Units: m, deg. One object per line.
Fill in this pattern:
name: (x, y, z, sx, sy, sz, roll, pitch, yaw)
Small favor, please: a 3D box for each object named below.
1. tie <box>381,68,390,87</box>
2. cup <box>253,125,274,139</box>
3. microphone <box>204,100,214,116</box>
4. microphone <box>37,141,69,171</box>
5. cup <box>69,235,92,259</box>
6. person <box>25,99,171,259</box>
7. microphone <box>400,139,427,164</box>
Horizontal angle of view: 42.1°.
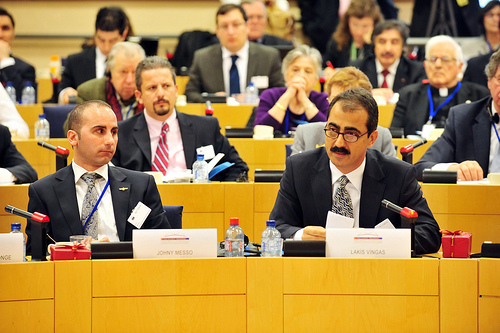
tie: (1.672, -1.088, 8.080, 0.121, 0.196, 0.042, 1, 0, 19)
cup: (0.125, -0.335, 6.652, 0.242, 0.172, 0.133, -1, 4, 0)
microphone: (-0.451, -0.641, 7.200, 0.081, 0.104, 0.265, 0, 28, -3)
microphone: (-1.796, -0.095, 5.907, 0.272, 0.340, 0.076, 24, 35, 21)
cup: (-1.089, 0.518, 4.194, 0.139, 0.089, 0.135, 1, 4, 0)
person: (-1.130, 0.122, 4.982, 1.025, 1.375, 0.758, 3, -32, -26)
microphone: (1.470, -0.129, 5.868, 0.219, 0.252, 0.042, -27, 50, -18)
